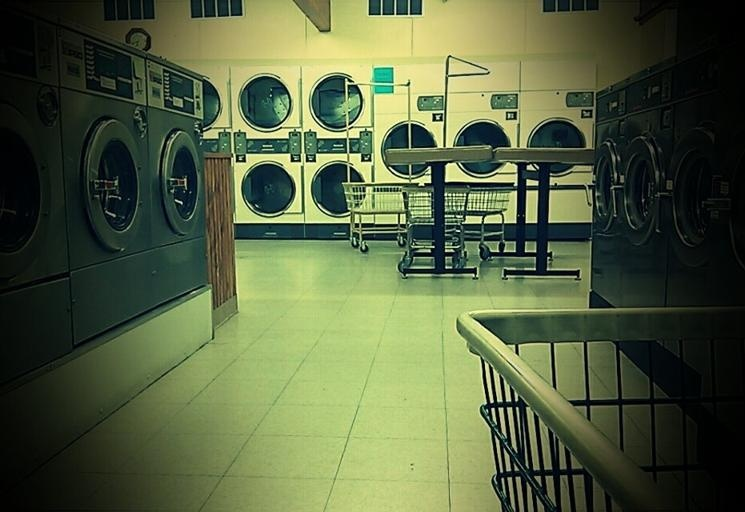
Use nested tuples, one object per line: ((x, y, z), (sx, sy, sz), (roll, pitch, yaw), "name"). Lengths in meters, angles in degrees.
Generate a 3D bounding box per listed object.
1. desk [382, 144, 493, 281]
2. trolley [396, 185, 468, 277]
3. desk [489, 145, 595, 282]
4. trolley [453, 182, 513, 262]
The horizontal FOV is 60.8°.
((0.593, -0.398, 5.653), (0.914, 1.163, 0.665), (1, 11, 9), "desk")
((0.715, -0.292, 6.529), (0.891, 0.835, 0.622), (3, 10, -5), "trolley")
((1.531, -0.400, 5.732), (1.061, 1.098, 0.833), (2, 10, 7), "desk")
((1.313, -0.462, 7.301), (0.556, 0.853, 1.121), (0, 14, 8), "trolley")
